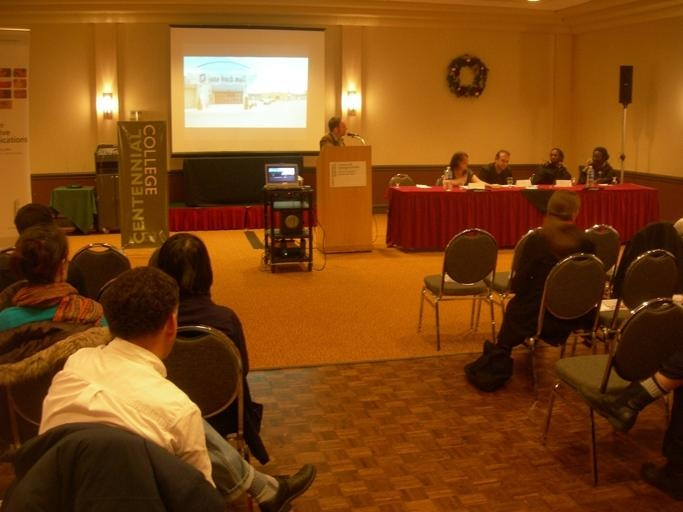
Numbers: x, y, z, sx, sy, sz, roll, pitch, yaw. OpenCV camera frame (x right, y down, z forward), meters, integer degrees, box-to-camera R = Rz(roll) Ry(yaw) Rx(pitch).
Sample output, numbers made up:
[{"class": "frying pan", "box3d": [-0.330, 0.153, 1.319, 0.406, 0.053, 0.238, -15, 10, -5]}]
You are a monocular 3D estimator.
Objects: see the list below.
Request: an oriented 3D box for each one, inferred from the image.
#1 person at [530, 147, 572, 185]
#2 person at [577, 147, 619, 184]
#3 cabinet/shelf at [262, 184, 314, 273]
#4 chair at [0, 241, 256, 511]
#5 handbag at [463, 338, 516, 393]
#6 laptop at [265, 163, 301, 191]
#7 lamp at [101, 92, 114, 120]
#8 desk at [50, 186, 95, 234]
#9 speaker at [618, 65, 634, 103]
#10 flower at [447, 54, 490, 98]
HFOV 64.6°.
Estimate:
[{"class": "person", "box3d": [3.564, -1.504, 9.039, 0.538, 0.555, 0.794, 9, 16, 36]}, {"class": "person", "box3d": [4.258, -1.487, 8.898, 0.512, 0.573, 1.343, 7, 15, 30]}, {"class": "cabinet/shelf", "box3d": [-0.652, -0.375, 7.213, 0.670, 1.077, 0.699, -4, 9, -24]}, {"class": "chair", "box3d": [-0.592, 0.360, 1.473, 0.430, 0.584, 0.418, -3, 13, -12]}, {"class": "handbag", "box3d": [1.090, 0.829, 3.920, 0.361, 0.403, 0.255, -14, 21, -21]}, {"class": "laptop", "box3d": [-0.766, -1.053, 7.177, 0.526, 0.441, 0.301, -2, 0, -11]}, {"class": "lamp", "box3d": [-4.364, -2.814, 10.073, 0.215, 0.497, 0.076, -3, 12, -11]}, {"class": "desk", "box3d": [-4.766, -0.815, 9.748, 0.734, 0.892, 0.792, 0, 5, -10]}, {"class": "speaker", "box3d": [5.115, -3.046, 9.653, 0.210, 0.664, 0.173, 6, 14, 28]}, {"class": "flower", "box3d": [2.632, -3.774, 11.282, 0.833, 0.857, 0.189, -3, 12, -10]}]
